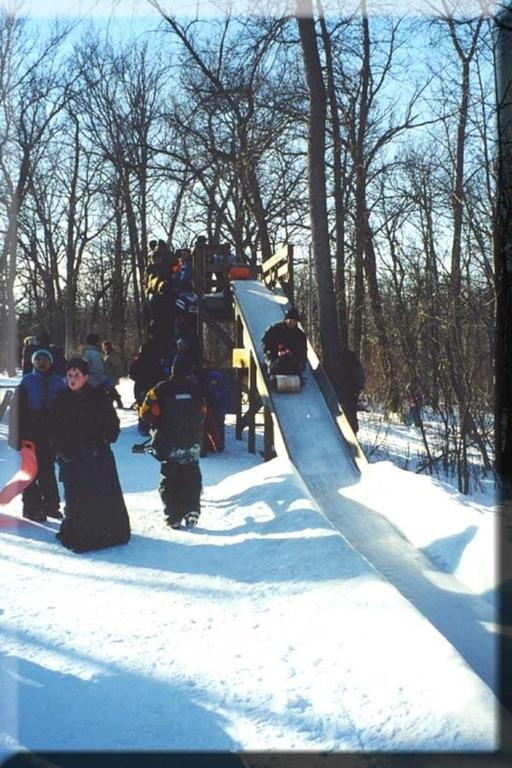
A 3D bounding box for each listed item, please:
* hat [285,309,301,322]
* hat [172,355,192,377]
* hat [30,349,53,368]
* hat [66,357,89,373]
[{"bbox_3d":[0.556,-1.067,11.341,0.150,0.232,0.204,6,0,-3],"label":"hat"},{"bbox_3d":[-0.763,-0.151,7.410,0.135,0.208,0.226,3,-38,-2],"label":"hat"},{"bbox_3d":[-2.145,-0.270,7.378,0.159,0.220,0.244,0,-19,-14],"label":"hat"},{"bbox_3d":[-1.521,-0.153,6.285,0.168,0.150,0.223,-3,4,-17],"label":"hat"}]
